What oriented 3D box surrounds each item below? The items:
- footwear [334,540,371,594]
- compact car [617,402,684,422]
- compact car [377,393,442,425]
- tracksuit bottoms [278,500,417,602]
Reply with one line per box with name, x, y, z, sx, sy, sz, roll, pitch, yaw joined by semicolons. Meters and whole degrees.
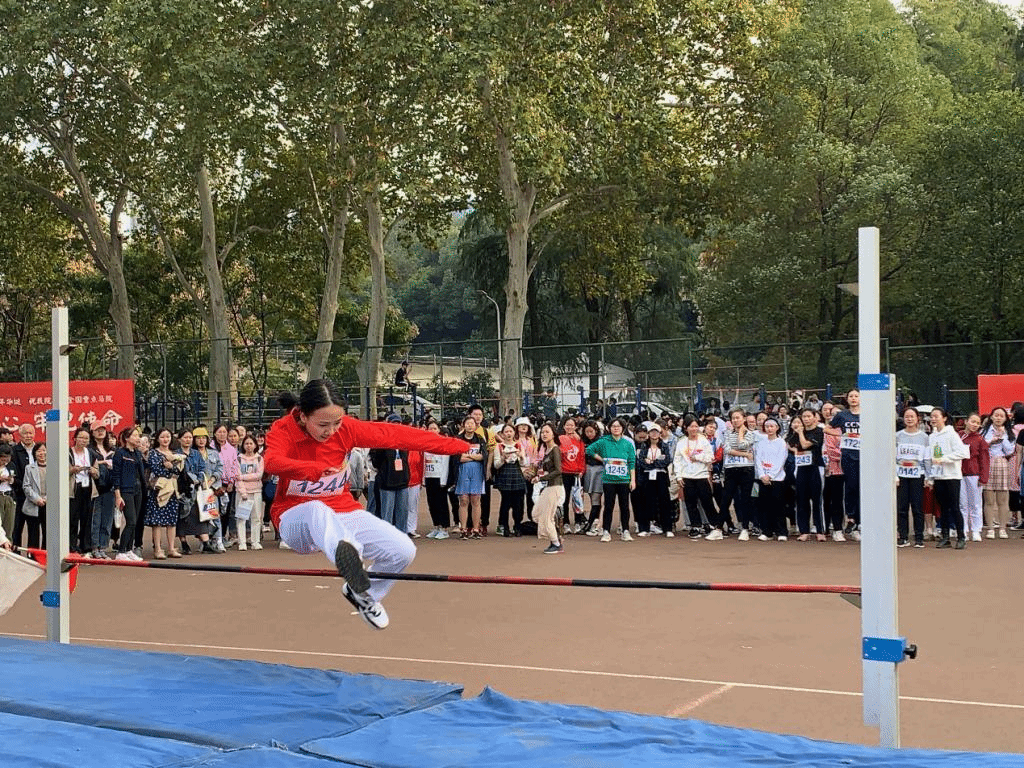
footwear;-2.438;2.768;23.851;0.408;0.864;0.422;-27;0;-19
compact car;3.728;0.663;44.073;1.671;0.538;0.763;1;-1;13
compact car;-2.976;0.625;45.068;1.835;0.866;0.998;-4;-4;19
tracksuit bottoms;-2.512;2.340;24.264;2.067;0.843;1.344;25;1;37
